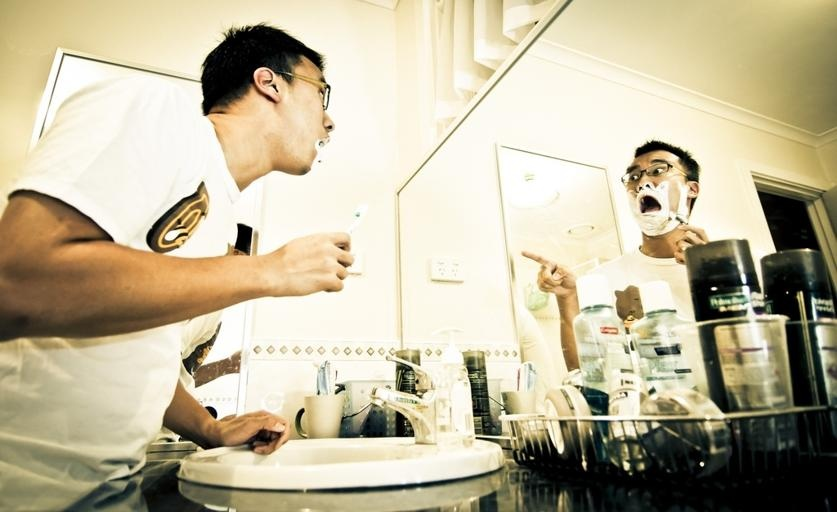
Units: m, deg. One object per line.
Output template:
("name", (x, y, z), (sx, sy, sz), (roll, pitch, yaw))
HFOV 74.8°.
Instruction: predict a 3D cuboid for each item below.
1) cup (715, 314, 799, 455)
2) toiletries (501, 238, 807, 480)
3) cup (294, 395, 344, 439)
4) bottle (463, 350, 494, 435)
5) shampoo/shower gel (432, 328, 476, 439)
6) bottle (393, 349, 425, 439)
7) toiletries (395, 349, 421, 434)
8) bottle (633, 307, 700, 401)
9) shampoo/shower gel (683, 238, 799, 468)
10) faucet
("cup", (0.671, 0.274, 1.155), (0.176, 0.280, 0.160), (-4, -5, 0))
("toiletries", (0.584, 0.148, 1.206), (0.246, 0.605, 0.325), (10, -17, -39))
("cup", (-0.332, 0.579, 2.011), (0.264, 0.185, 0.203), (1, -20, -8))
("bottle", (0.199, 0.454, 1.789), (0.062, 0.286, 0.079), (-1, 5, -1))
("shampoo/shower gel", (0.059, 0.386, 1.642), (0.172, 0.255, 0.252), (5, -17, -22))
("bottle", (-0.038, 0.526, 2.016), (0.112, 0.346, 0.087), (-10, -20, 26))
("toiletries", (-0.046, 0.493, 1.987), (0.096, 0.285, 0.161), (3, -6, -8))
("bottle", (0.571, 0.215, 1.262), (0.152, 0.203, 0.152), (-12, 7, 1))
("shampoo/shower gel", (0.674, 0.199, 1.164), (0.141, 0.438, 0.173), (-2, -9, -13))
("faucet", (-0.039, 0.409, 1.527), (0.195, 0.249, 0.083), (2, -3, -28))
